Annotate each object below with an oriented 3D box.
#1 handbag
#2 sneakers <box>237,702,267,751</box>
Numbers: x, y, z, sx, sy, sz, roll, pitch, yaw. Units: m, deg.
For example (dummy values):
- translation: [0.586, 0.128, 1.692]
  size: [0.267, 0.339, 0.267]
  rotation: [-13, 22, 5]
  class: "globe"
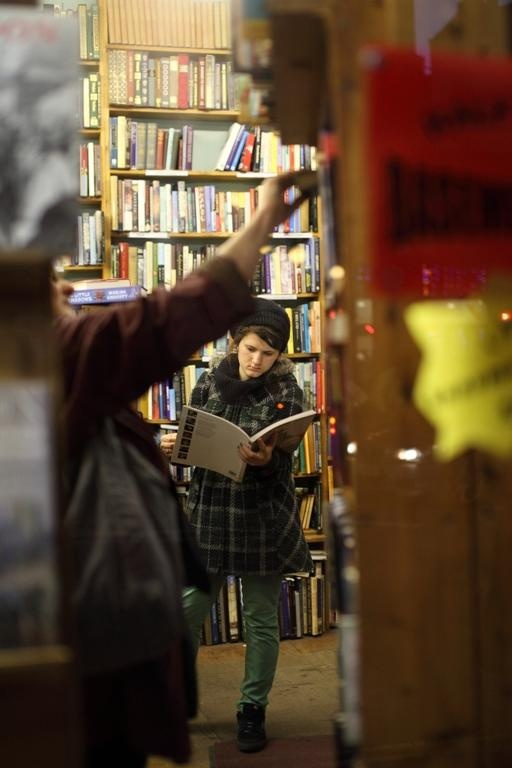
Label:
- translation: [-0.155, 0.185, 0.766]
  size: [0.138, 0.267, 0.093]
  rotation: [-3, 1, -30]
  class: "handbag"
- translation: [-0.010, 0.985, 1.941]
  size: [0.080, 0.102, 0.236]
  rotation: [1, -11, 2]
  class: "sneakers"
